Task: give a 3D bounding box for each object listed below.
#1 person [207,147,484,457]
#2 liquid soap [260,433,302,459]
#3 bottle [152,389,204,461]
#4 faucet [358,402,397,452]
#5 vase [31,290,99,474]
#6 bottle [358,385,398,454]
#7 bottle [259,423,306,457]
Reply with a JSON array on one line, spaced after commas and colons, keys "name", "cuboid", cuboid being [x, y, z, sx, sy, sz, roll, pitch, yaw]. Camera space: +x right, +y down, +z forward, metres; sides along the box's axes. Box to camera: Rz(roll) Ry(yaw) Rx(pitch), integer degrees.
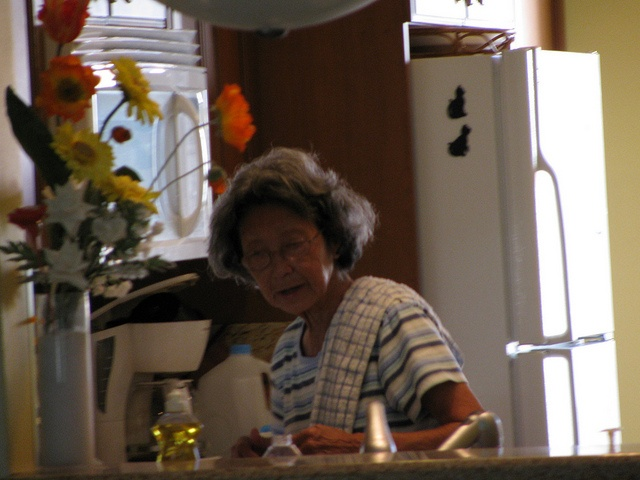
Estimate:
[{"name": "person", "cuboid": [0.101, 0.343, 3.580, 0.789, 1.151, 0.663, -7, -16, 19]}, {"name": "liquid soap", "cuboid": [-0.098, 0.525, 3.133, 0.094, 0.056, 0.249, -1, -8, -2]}, {"name": "bottle", "cuboid": [-0.371, 0.491, 3.178, 0.125, 0.211, 0.130, -4, -13, -1]}, {"name": "faucet", "cuboid": [0.144, 0.468, 3.063, 0.098, 0.128, 0.097, 0, -14, -16]}, {"name": "vase", "cuboid": [-0.649, 0.353, 3.107, 0.152, 0.441, 0.056, 1, -8, -12]}, {"name": "bottle", "cuboid": [0.142, 0.471, 3.063, 0.098, 0.134, 0.100, -3, -15, -1]}, {"name": "bottle", "cuboid": [-0.101, 0.518, 3.121, 0.132, 0.046, 0.039, -10, 11, 29]}]
